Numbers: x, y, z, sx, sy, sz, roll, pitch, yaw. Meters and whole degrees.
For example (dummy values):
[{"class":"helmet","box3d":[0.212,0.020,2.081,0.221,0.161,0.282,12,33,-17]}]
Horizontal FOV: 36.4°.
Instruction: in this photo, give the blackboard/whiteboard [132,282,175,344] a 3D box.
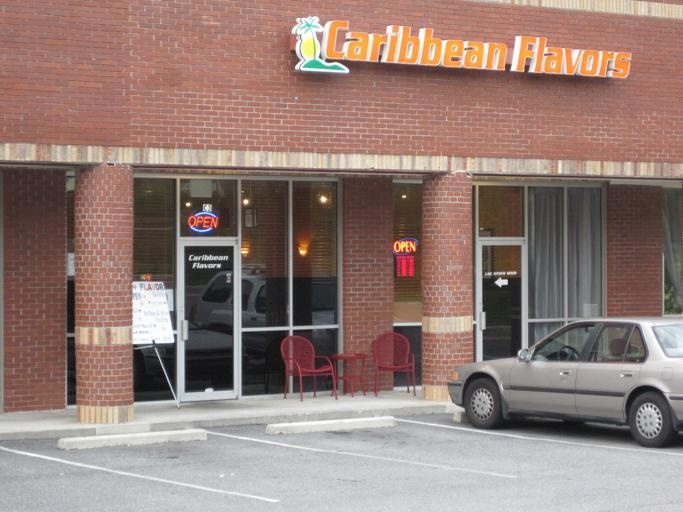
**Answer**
[{"class":"blackboard/whiteboard","box3d":[-3.494,1.074,19.138,1.132,1.443,0.072,9,-23,-41]}]

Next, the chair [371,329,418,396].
[{"class":"chair","box3d":[1.060,2.171,20.847,0.864,1.238,0.929,-2,-5,12]}]

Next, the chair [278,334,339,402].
[{"class":"chair","box3d":[-0.648,2.187,20.253,0.915,1.203,0.926,0,-2,-18]}]

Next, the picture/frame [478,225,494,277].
[{"class":"picture/frame","box3d":[3.054,-0.106,21.917,0.317,0.997,0.146,1,-7,-13]}]

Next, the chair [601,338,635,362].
[{"class":"chair","box3d":[4.300,1.480,16.225,0.340,0.447,0.376,-4,-18,21]}]
